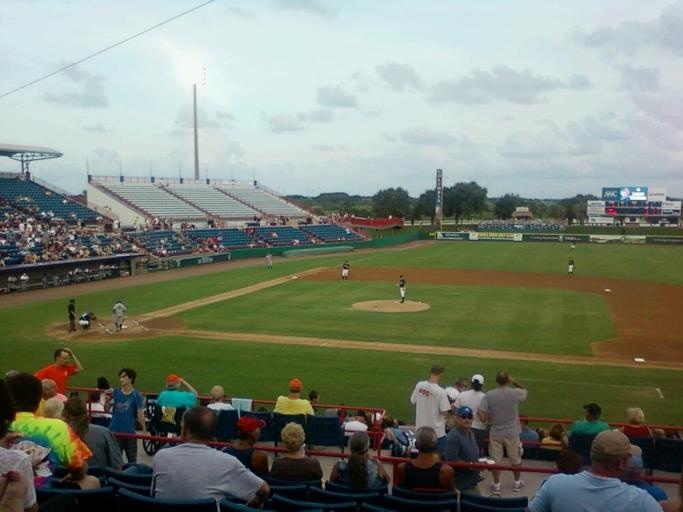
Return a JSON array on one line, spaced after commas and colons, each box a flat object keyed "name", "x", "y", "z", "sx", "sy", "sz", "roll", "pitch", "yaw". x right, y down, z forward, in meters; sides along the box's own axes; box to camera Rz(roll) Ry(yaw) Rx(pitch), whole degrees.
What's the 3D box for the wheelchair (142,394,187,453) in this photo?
[{"name": "wheelchair", "x": -4.081, "y": 3.755, "z": 16.493, "sx": 0.881, "sy": 1.398, "sz": 1.327, "roll": 5, "pitch": 15, "yaw": 4}]
